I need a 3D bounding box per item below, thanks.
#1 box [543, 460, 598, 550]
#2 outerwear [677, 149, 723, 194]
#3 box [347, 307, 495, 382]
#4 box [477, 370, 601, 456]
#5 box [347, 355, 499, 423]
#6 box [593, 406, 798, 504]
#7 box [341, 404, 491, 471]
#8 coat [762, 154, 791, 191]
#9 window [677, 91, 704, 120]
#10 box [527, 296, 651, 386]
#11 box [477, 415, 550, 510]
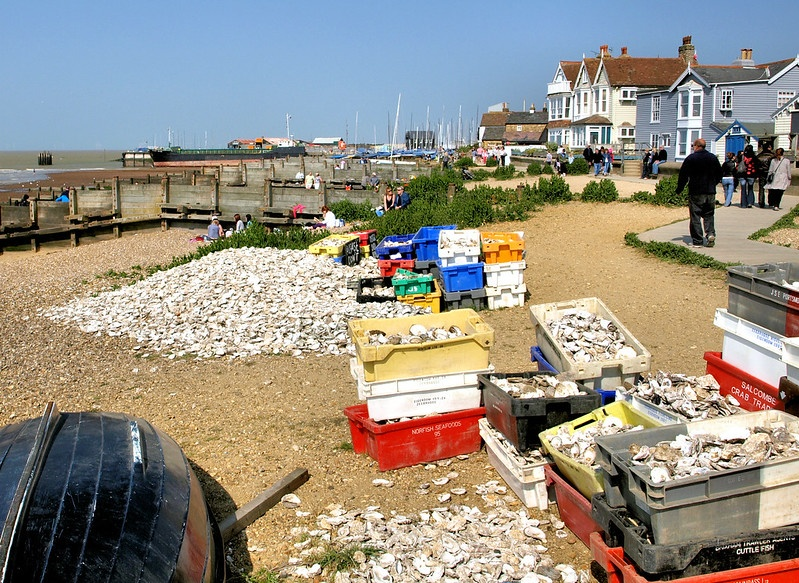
[{"bbox_3d":[1.867,2.388,8.482,0.445,0.297,0.662,-7,23,-18],"label":"box"},{"bbox_3d":[6.592,-2.586,16.989,0.858,1.052,0.568,7,15,36],"label":"outerwear"},{"bbox_3d":[0.294,0.741,9.926,1.445,0.551,0.982,-3,14,-10],"label":"box"},{"bbox_3d":[1.506,1.367,9.441,0.748,0.542,1.192,-3,10,-16],"label":"box"},{"bbox_3d":[0.304,1.285,9.821,1.021,0.381,0.902,-9,7,-9],"label":"box"},{"bbox_3d":[2.831,1.625,7.859,1.533,0.569,1.045,-6,12,-10],"label":"box"},{"bbox_3d":[0.248,1.865,9.890,1.148,0.474,0.953,-7,5,-17],"label":"box"},{"bbox_3d":[11.201,-3.412,22.559,0.791,1.180,0.980,-4,8,-36],"label":"coat"},{"bbox_3d":[16.685,-10.573,44.121,0.266,1.934,1.586,-10,12,-31],"label":"window"},{"bbox_3d":[2.524,0.740,10.445,1.211,0.814,1.666,-4,14,-5],"label":"box"},{"bbox_3d":[1.394,2.049,9.163,0.541,0.337,0.807,-3,25,-18],"label":"box"}]
